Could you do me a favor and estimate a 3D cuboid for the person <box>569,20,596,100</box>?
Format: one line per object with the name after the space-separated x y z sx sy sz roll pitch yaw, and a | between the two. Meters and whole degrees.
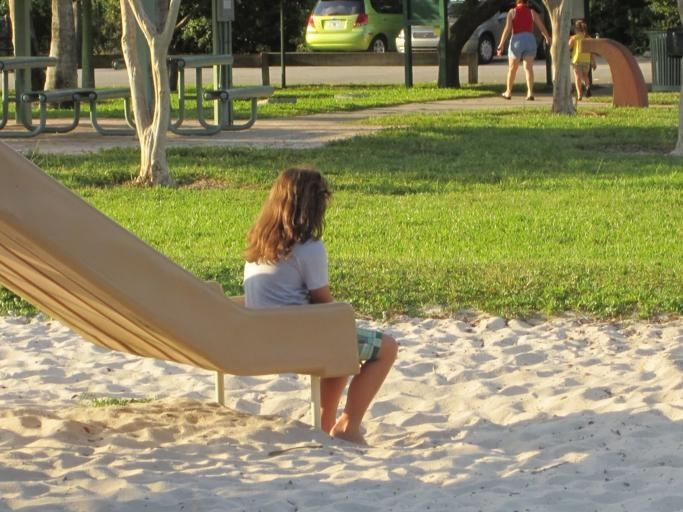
5.183 -4.239 41.023 0.522 1.741 0.493 1 4 20 | person
